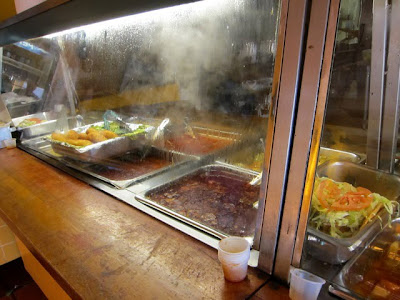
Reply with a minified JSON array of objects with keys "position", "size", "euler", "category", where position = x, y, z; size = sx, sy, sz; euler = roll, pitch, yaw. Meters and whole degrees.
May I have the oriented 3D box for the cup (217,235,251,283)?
[{"position":[0.136,0.433,1.026],"size":[0.130,0.129,0.128],"euler":[-3,7,0],"category":"cup"}]
